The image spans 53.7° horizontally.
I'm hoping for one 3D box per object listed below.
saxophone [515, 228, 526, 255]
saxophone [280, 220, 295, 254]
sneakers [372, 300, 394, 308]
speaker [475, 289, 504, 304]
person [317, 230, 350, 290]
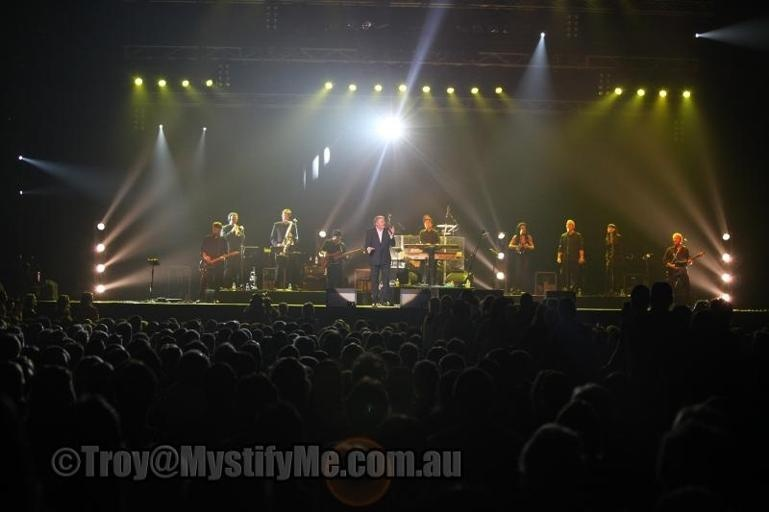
[{"bbox_3d":[4.153,-0.458,22.828,0.326,0.749,0.320,-2,-14,7],"label":"saxophone"},{"bbox_3d":[-2.867,-0.558,22.783,0.377,1.039,0.421,-2,-14,4],"label":"saxophone"},{"bbox_3d":[-0.036,1.176,18.398,0.550,0.239,0.190,-3,-6,10],"label":"sneakers"},{"bbox_3d":[2.594,0.994,18.997,0.636,0.354,0.436,-2,-1,0],"label":"speaker"},{"bbox_3d":[-1.410,0.120,22.340,0.796,1.741,0.260,0,-4,23],"label":"person"}]
